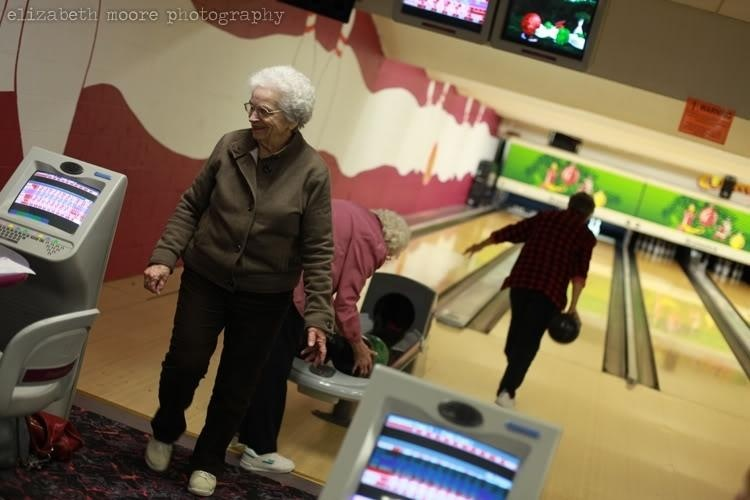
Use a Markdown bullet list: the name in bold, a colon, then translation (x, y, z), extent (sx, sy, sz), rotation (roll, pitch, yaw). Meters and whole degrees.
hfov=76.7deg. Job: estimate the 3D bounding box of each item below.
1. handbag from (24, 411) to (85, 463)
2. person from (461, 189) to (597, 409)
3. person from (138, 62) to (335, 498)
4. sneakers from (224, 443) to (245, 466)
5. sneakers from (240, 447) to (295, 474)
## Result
- **handbag**: translation (-1.324, 0.766, 1.960), extent (0.209, 0.177, 0.119), rotation (9, 12, -36)
- **person**: translation (0.869, 0.292, 2.698), extent (0.504, 1.103, 0.230), rotation (19, 10, 22)
- **person**: translation (-0.518, 0.160, 1.902), extent (0.750, 1.751, 0.219), rotation (16, 9, 2)
- **sneakers**: translation (-0.671, 0.973, 2.251), extent (0.042, 0.057, 0.129), rotation (5, 2, -3)
- **sneakers**: translation (-0.501, 0.991, 2.267), extent (0.285, 0.140, 0.103), rotation (4, 4, -16)
